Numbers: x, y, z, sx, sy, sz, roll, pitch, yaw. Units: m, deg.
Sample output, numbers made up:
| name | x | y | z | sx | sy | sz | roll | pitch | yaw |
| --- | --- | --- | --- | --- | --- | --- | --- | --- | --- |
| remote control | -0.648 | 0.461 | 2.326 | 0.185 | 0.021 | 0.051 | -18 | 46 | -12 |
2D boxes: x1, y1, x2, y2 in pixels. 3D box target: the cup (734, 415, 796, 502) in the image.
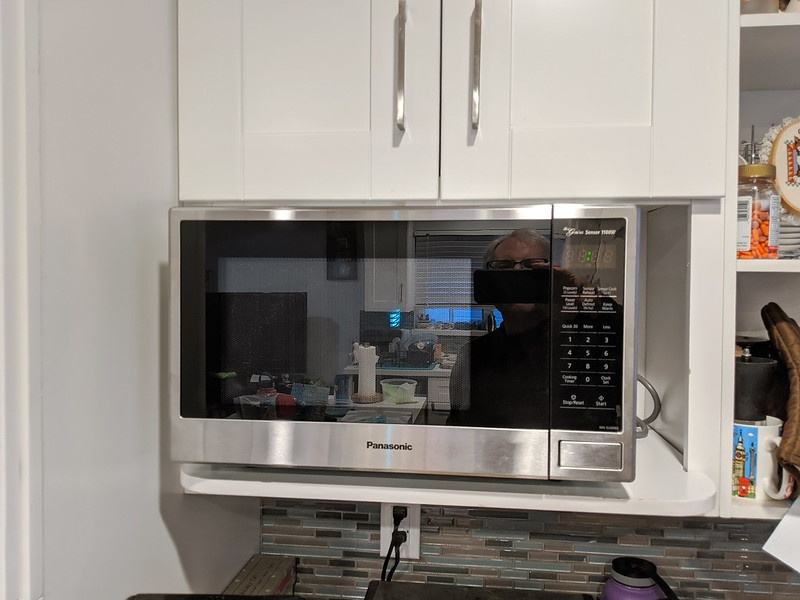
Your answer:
| name | x | y | z | sx | sy | sz | roll | pitch | yaw |
| --- | --- | --- | --- | --- | --- | --- | --- | --- | --- |
| cup | 0.645 | 0.287 | 1.596 | 0.085 | 0.133 | 0.149 | 1 | -1 | 0 |

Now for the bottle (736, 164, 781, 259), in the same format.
| name | x | y | z | sx | sy | sz | roll | pitch | yaw |
| --- | --- | --- | --- | --- | --- | --- | --- | --- | --- |
| bottle | 0.661 | -0.164 | 1.575 | 0.058 | 0.172 | 0.122 | 3 | 9 | 42 |

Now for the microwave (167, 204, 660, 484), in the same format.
| name | x | y | z | sx | sy | sz | roll | pitch | yaw |
| --- | --- | --- | --- | --- | --- | --- | --- | --- | --- |
| microwave | 0.008 | 0.066 | 1.698 | 0.827 | 0.502 | 0.482 | 1 | 3 | 6 |

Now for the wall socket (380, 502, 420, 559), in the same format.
| name | x | y | z | sx | sy | sz | roll | pitch | yaw |
| --- | --- | --- | --- | --- | --- | --- | --- | --- | --- |
| wall socket | -0.008 | 0.493 | 1.833 | 0.089 | 0.134 | 0.030 | 0 | 10 | 12 |
